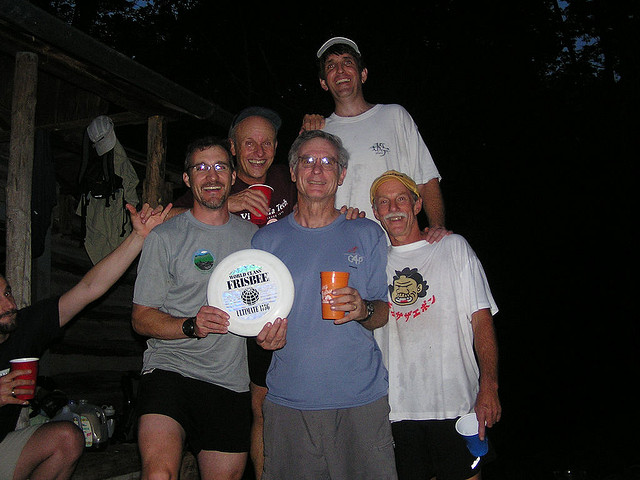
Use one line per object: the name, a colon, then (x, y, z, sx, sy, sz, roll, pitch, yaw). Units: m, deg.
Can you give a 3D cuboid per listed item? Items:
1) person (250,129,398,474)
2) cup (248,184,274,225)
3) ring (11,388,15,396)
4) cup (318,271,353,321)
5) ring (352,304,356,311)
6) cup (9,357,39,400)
person: (0.075, 0.476, 3.678, 1.081, 2.289, 0.600, 2, -1, 32)
cup: (-0.590, -0.366, 4.455, 0.223, 0.353, 0.393, 2, -1, -5)
ring: (-2.863, 1.405, 4.183, 0.047, 0.065, 0.016, 3, 5, -4)
cup: (0.103, 0.420, 3.392, 0.211, 0.300, 0.123, 2, -1, 5)
ring: (0.254, 0.497, 3.362, 0.026, 0.036, 0.009, 3, -1, -15)
cup: (-2.787, 1.294, 4.214, 0.209, 0.443, 0.182, 3, -1, -20)
